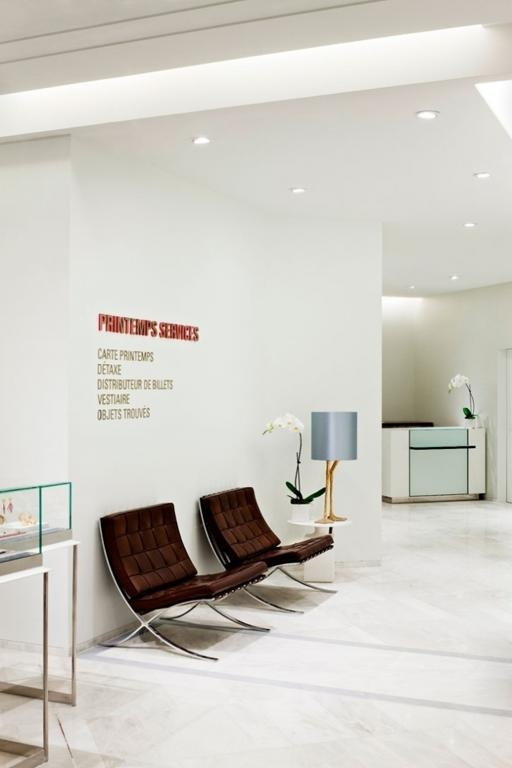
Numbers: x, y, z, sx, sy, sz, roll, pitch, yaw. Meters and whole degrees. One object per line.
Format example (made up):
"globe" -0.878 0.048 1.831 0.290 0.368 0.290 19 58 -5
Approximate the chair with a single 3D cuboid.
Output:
"chair" -0.319 1.253 4.363 0.903 0.837 1.449 -3 -7 28

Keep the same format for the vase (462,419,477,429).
"vase" 3.746 0.692 10.989 0.164 0.157 0.167 1 -2 -5

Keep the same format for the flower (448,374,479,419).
"flower" 3.609 0.242 11.196 0.346 0.844 0.562 1 -6 -12

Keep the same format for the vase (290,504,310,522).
"vase" 0.399 1.138 5.641 0.164 0.150 0.165 1 -10 -4
